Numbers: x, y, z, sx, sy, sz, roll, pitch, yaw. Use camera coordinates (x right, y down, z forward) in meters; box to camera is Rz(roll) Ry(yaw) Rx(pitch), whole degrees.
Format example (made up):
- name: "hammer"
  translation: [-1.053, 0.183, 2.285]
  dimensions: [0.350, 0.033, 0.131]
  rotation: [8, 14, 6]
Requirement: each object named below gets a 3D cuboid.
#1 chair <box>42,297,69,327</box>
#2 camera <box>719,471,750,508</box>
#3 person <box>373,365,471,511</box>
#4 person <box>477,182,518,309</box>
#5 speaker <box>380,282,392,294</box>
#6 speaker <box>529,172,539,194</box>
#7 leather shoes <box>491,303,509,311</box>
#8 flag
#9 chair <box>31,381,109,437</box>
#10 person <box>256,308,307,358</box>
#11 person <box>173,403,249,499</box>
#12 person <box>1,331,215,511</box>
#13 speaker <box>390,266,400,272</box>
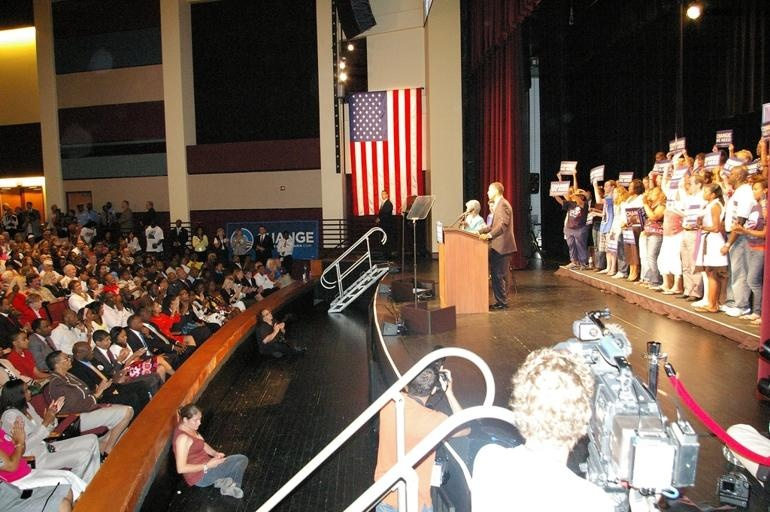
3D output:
- name: "chair"
  translation: [-5.129, 0.867, 7.851]
  dimensions: [0.263, 0.504, 0.317]
  rotation: [2, 2, 28]
- name: "camera"
  translation: [2.626, 1.745, 3.828]
  dimensions: [0.220, 0.209, 0.133]
  rotation: [4, 13, -6]
- name: "person"
  translation: [0.254, 1.480, 4.057]
  dimensions: [0.633, 1.231, 0.598]
  rotation: [5, 13, 1]
- name: "person"
  translation: [1.650, -0.128, 7.483]
  dimensions: [0.578, 1.845, 0.419]
  rotation: [2, 13, -12]
- name: "speaker"
  translation: [-0.014, 0.587, 9.340]
  dimensions: [0.150, 0.129, 0.153]
  rotation: [0, 0, -30]
- name: "speaker"
  translation: [4.592, -2.242, 15.540]
  dimensions: [0.277, 0.641, 0.237]
  rotation: [5, 13, -1]
- name: "leather shoes"
  translation: [1.732, 0.759, 7.671]
  dimensions: [0.254, 0.128, 0.110]
  rotation: [-4, -2, 4]
- name: "flag"
  translation: [0.038, -2.824, 13.689]
  dimensions: [2.047, 3.472, 0.632]
  rotation: [4, 13, -5]
- name: "chair"
  translation: [-3.682, 1.655, 5.869]
  dimensions: [0.649, 0.768, 0.560]
  rotation: [-1, 0, -6]
- name: "person"
  translation: [-1.729, 1.223, 8.532]
  dimensions: [0.766, 0.955, 0.622]
  rotation: [-1, 9, -4]
- name: "person"
  translation: [-1.911, 2.020, 5.629]
  dimensions: [0.847, 1.239, 0.683]
  rotation: [-1, 2, -19]
- name: "person"
  translation: [-3.168, 1.702, 5.537]
  dimensions: [1.255, 1.676, 1.196]
  rotation: [-3, 1, 2]
- name: "speaker"
  translation: [0.226, 0.301, 11.779]
  dimensions: [0.132, 0.092, 0.132]
  rotation: [5, -8, -43]
